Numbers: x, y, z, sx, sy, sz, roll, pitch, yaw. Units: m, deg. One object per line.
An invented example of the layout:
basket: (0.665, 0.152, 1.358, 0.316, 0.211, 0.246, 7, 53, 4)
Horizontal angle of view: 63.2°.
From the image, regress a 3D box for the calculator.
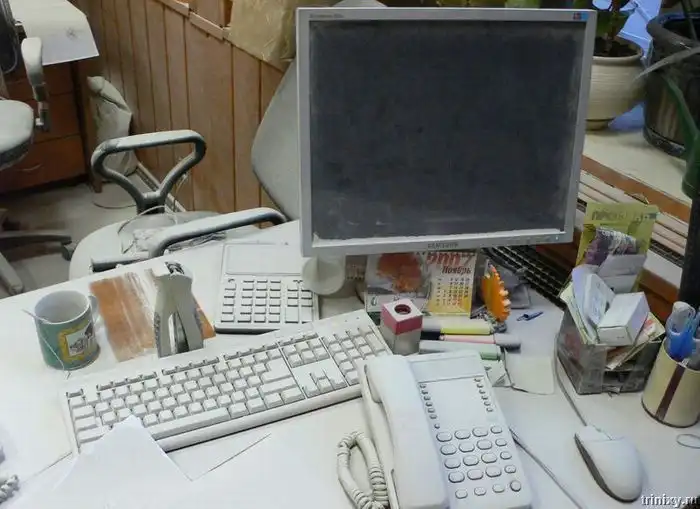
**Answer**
calculator: (-0.193, 0.067, 1.332, 0.221, 0.053, 0.322, 4, 33, -10)

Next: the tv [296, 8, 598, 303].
tv: (0.161, -0.267, 1.201, 0.666, 0.474, 0.273, -7, 41, -12)

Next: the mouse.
mouse: (0.477, 0.368, 1.027, 0.085, 0.053, 0.130, -10, 37, -14)

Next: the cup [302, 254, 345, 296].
cup: (-0.059, 0.044, 1.302, 0.078, 0.087, 0.106, -16, 37, -26)
